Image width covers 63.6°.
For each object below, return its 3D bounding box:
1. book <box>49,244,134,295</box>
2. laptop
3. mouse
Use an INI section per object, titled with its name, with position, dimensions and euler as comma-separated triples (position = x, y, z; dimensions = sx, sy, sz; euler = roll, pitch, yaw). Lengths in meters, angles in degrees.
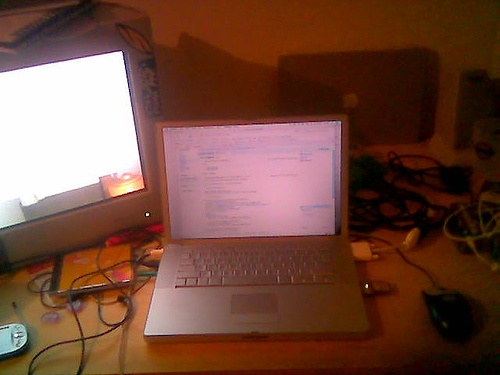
[book]
position = -0.415, 0.213, 1.066
dimensions = 0.136, 0.027, 0.122
euler = -8, 35, -13
[laptop]
position = 0.006, 0.079, 0.925
dimensions = 0.525, 0.291, 0.450
euler = 2, 32, 4
[mouse]
position = 0.467, 0.289, 0.930
dimensions = 0.106, 0.071, 0.112
euler = 1, 20, 3
